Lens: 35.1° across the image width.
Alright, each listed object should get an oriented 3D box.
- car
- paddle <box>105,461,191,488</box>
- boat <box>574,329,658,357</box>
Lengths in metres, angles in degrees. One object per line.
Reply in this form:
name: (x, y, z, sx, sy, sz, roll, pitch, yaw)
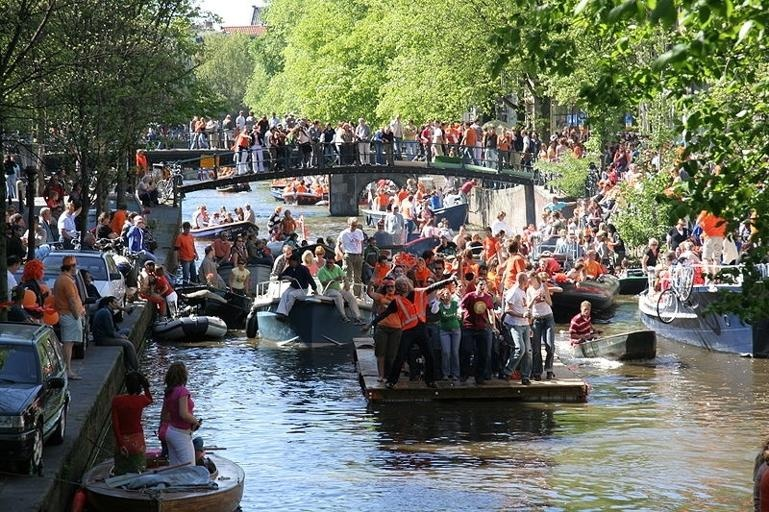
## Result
car: (-7.436, 0.815, 28.977, 1.737, 1.507, 2.829, 0, -1, 0)
paddle: (-3.637, 3.466, 18.879, 0.795, 0.184, 0.540, 1, 16, -18)
boat: (5.734, 2.276, 29.916, 1.518, 0.482, 0.797, -5, -3, 11)
